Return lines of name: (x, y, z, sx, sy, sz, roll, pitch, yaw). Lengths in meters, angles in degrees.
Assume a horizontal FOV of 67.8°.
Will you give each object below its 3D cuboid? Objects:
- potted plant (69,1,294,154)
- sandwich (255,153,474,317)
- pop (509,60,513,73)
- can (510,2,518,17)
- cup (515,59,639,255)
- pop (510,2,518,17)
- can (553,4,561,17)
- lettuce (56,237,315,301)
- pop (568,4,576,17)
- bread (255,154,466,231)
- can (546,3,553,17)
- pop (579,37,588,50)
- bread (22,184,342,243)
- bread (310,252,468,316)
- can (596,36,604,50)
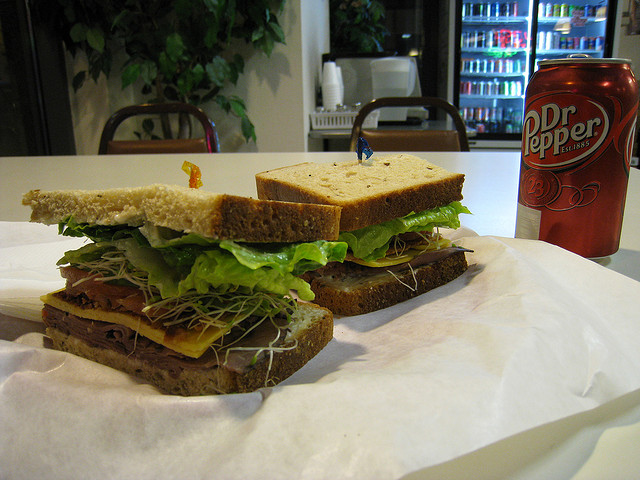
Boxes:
potted plant: (-1.348, -1.703, 4.748, 1.995, 1.812, 1.528, -1, 15, -7)
sandwich: (0.130, -0.036, 1.364, 0.529, 0.255, 0.467, -15, 23, -37)
pop: (3.070, -2.807, 7.627, 0.053, 0.184, 0.008, -4, 13, -7)
can: (2.954, -3.528, 7.229, 0.124, 0.212, 0.057, -2, 16, -1)
cup: (0.613, -0.194, 1.139, 0.240, 0.467, 0.176, 5, 17, 21)
pop: (2.954, -3.528, 7.229, 0.124, 0.212, 0.057, -2, 16, -1)
can: (3.562, -3.481, 7.163, 0.112, 0.183, 0.057, -5, 17, -12)
lettuce: (-0.298, 0.054, 0.949, 0.570, 0.114, 0.119, 4, 16, 19)
pop: (3.771, -3.459, 7.119, 0.096, 0.193, 0.128, 6, 18, 25)
bread: (0.183, -0.152, 1.405, 0.542, 0.097, 0.426, -22, 27, -20)
can: (3.449, -3.494, 7.160, 0.113, 0.192, 0.053, -6, 17, -13)
pop: (3.985, -2.990, 7.187, 0.105, 0.155, 0.103, -5, 16, -12)
bread: (-0.305, -0.057, 0.975, 0.643, 0.138, 0.251, 3, 16, 17)
bread: (0.201, 0.062, 1.255, 0.352, 0.058, 0.180, -14, 18, -25)
can: (4.104, -2.915, 6.949, 0.076, 0.201, 0.296, 3, 16, 16)
